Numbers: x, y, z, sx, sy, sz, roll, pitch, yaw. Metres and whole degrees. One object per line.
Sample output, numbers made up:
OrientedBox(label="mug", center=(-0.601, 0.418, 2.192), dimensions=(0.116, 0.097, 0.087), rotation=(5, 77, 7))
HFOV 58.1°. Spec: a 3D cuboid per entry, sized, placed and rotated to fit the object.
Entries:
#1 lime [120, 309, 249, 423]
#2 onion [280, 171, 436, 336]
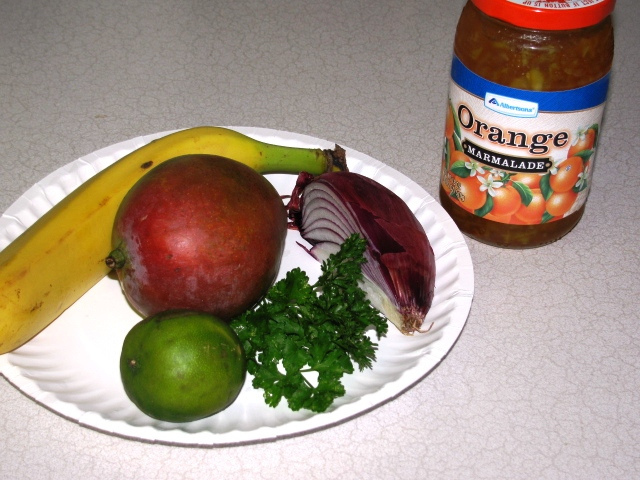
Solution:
OrientedBox(label="lime", center=(-0.182, 0.160, 0.748), dimensions=(0.157, 0.077, 0.135), rotation=(-15, 61, -3))
OrientedBox(label="onion", center=(0.091, 0.000, 0.971), dimensions=(0.178, 0.134, 0.334), rotation=(-30, 61, -14))
